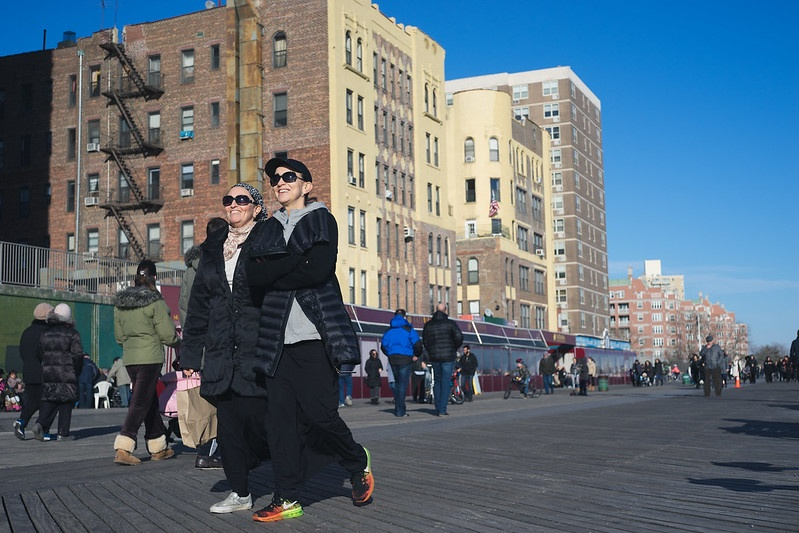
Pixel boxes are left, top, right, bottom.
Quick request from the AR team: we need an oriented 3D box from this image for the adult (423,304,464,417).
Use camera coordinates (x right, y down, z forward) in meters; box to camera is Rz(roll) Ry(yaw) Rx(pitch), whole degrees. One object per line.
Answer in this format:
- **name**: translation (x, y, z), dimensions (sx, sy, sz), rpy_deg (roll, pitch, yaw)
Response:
- **adult**: translation (1.140, 2.332, 23.311), dimensions (1.041, 2.752, 0.856), rpy_deg (-2, -4, 26)

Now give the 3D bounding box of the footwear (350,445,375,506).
- **footwear**: translation (-0.461, 2.535, 11.091), dimensions (0.238, 0.724, 0.260), rpy_deg (-2, 0, 41)

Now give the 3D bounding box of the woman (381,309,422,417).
- **woman**: translation (0.095, 2.413, 23.480), dimensions (1.027, 2.708, 0.824), rpy_deg (-1, -4, 27)

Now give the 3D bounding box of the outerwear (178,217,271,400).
- **outerwear**: translation (-2.034, 0.567, 11.357), dimensions (1.320, 2.136, 0.756), rpy_deg (0, -1, -7)

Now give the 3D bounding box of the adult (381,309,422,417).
- **adult**: translation (0.107, 2.426, 23.476), dimensions (1.009, 2.704, 0.837), rpy_deg (-4, -7, 32)

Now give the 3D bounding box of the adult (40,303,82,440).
- **adult**: translation (-6.431, 1.972, 17.065), dimensions (0.776, 2.588, 1.017), rpy_deg (1, 1, 28)

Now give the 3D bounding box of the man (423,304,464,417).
- **man**: translation (1.135, 2.337, 23.329), dimensions (1.028, 2.746, 0.838), rpy_deg (-3, -5, 29)

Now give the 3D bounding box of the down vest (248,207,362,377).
- **down vest**: translation (-1.266, 0.214, 11.042), dimensions (1.247, 2.006, 0.817), rpy_deg (-5, 7, -9)

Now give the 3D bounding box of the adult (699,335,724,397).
- **adult**: translation (10.918, 3.364, 31.939), dimensions (0.699, 2.142, 0.704), rpy_deg (-2, 12, 16)

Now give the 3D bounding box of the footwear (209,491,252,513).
- **footwear**: translation (-2.007, 2.804, 10.950), dimensions (0.537, 0.258, 0.209), rpy_deg (4, -8, -22)

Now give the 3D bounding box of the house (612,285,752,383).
- **house**: translation (60.305, 12.068, 202.691), dimensions (34.286, 12.451, 10.927), rpy_deg (13, -9, -40)

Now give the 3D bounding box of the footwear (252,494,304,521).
- **footwear**: translation (-1.430, 2.810, 10.677), dimensions (0.573, 0.310, 0.234), rpy_deg (1, -10, -15)

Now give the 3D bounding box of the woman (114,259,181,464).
- **woman**: translation (-3.956, 1.441, 14.146), dimensions (0.959, 3.168, 0.833), rpy_deg (5, -10, -22)
